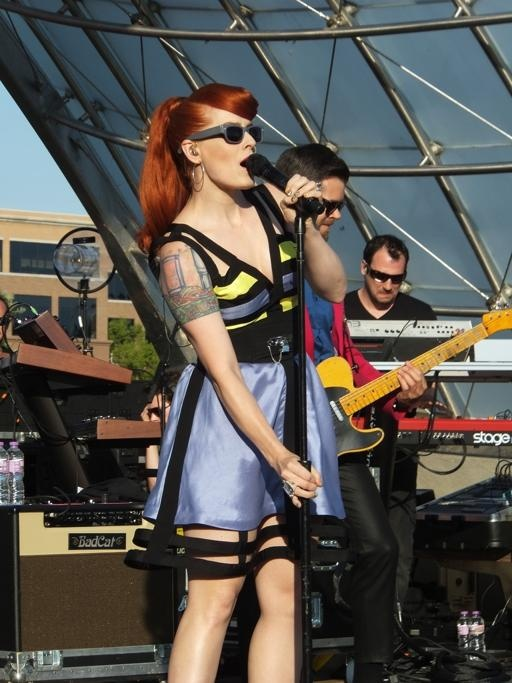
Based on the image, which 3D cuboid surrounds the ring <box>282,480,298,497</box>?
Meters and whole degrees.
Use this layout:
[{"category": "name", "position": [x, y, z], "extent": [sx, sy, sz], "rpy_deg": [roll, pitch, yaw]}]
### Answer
[{"category": "ring", "position": [0.072, 0.330, 2.223], "extent": [0.018, 0.022, 0.045], "rpy_deg": [-20, 45, -33]}]
